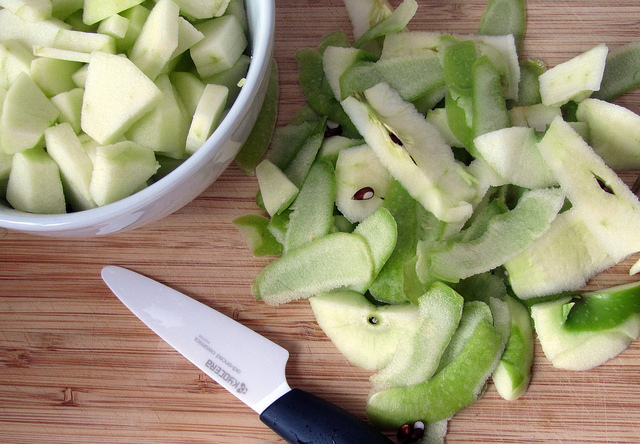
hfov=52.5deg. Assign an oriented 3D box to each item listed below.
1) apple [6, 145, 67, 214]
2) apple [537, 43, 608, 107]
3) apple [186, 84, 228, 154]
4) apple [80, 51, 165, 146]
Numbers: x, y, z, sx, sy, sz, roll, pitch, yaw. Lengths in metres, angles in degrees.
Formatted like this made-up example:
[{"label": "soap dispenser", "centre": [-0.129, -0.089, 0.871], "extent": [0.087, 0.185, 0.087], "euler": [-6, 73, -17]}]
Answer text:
[{"label": "apple", "centre": [-0.533, -0.084, 1.214], "extent": [0.081, 0.126, 0.070], "euler": [10, 21, 20]}, {"label": "apple", "centre": [0.553, -0.310, 1.404], "extent": [0.143, 0.066, 0.089], "euler": [-19, 77, -7]}, {"label": "apple", "centre": [-0.213, -0.191, 1.218], "extent": [0.030, 0.094, 0.093], "euler": [17, 46, -1]}, {"label": "apple", "centre": [-0.382, -0.221, 1.194], "extent": [0.146, 0.069, 0.145], "euler": [38, 77, 6]}]
